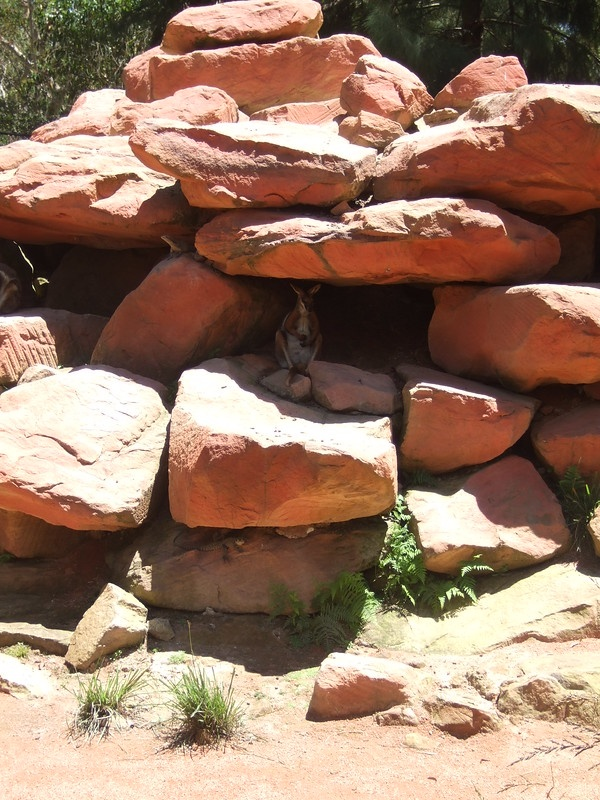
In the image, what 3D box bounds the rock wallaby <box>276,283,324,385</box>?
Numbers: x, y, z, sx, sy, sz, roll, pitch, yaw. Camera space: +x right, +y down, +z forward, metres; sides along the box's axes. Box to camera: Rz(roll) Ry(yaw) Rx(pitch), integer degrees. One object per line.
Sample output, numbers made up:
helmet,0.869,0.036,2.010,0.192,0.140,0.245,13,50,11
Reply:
rock wallaby,-0.021,-0.748,9.098,0.483,0.876,0.815,1,19,-2
